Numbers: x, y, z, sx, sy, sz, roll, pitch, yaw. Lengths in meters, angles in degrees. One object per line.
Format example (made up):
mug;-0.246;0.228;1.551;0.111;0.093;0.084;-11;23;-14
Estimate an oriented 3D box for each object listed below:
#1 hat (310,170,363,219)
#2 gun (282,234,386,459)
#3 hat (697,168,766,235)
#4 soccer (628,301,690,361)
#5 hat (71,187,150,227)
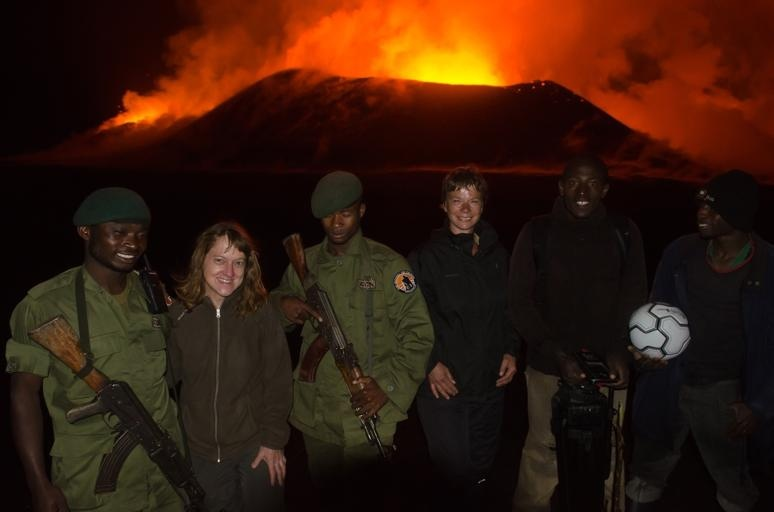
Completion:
hat;-0.482;-0.568;6.160;0.454;0.437;0.240;-4;9;-6
gun;-0.470;0.873;6.096;0.873;2.269;0.208;-30;-11;25
hat;3.293;-0.521;6.271;0.548;0.586;0.259;-1;9;15
soccer;2.624;0.733;6.333;0.521;0.550;0.556;11;53;19
hat;-2.308;-0.398;5.472;0.451;0.186;0.398;0;0;7
